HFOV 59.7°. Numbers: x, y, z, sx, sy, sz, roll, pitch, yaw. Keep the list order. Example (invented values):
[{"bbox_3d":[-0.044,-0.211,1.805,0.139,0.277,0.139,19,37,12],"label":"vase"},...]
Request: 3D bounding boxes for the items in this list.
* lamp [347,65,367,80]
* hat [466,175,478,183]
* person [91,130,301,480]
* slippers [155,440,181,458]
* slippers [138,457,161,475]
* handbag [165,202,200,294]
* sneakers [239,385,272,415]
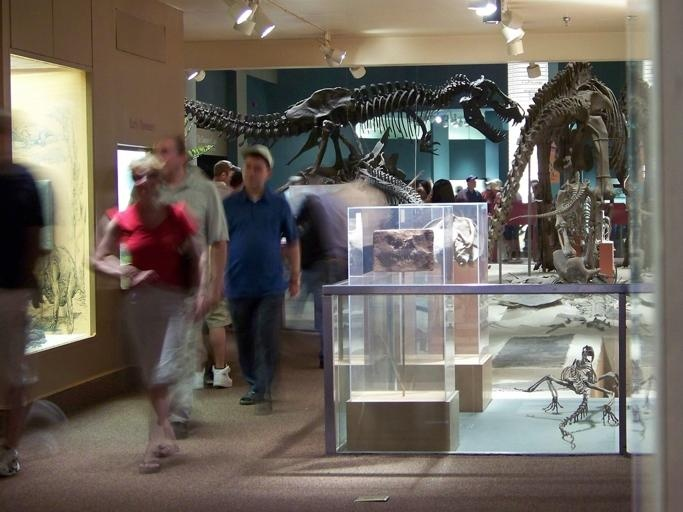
[{"bbox_3d":[0.227,-2.526,8.175,0.187,0.178,0.318,0,4,8],"label":"lamp"},{"bbox_3d":[1.982,-1.168,9.003,0.094,0.086,0.143,-2,-20,-33],"label":"hat"},{"bbox_3d":[-1.010,0.279,3.533,0.588,1.943,0.707,0,4,16],"label":"person"},{"bbox_3d":[-1.035,1.155,3.560,0.054,0.079,0.137,-8,-4,36],"label":"slippers"},{"bbox_3d":[-1.125,1.226,3.493,0.123,0.073,0.053,-2,6,0],"label":"slippers"},{"bbox_3d":[-0.887,-0.025,3.356,0.133,0.582,0.145,10,-37,-42],"label":"handbag"},{"bbox_3d":[-0.683,1.090,4.490,0.360,0.158,0.124,4,-5,-3],"label":"sneakers"}]
